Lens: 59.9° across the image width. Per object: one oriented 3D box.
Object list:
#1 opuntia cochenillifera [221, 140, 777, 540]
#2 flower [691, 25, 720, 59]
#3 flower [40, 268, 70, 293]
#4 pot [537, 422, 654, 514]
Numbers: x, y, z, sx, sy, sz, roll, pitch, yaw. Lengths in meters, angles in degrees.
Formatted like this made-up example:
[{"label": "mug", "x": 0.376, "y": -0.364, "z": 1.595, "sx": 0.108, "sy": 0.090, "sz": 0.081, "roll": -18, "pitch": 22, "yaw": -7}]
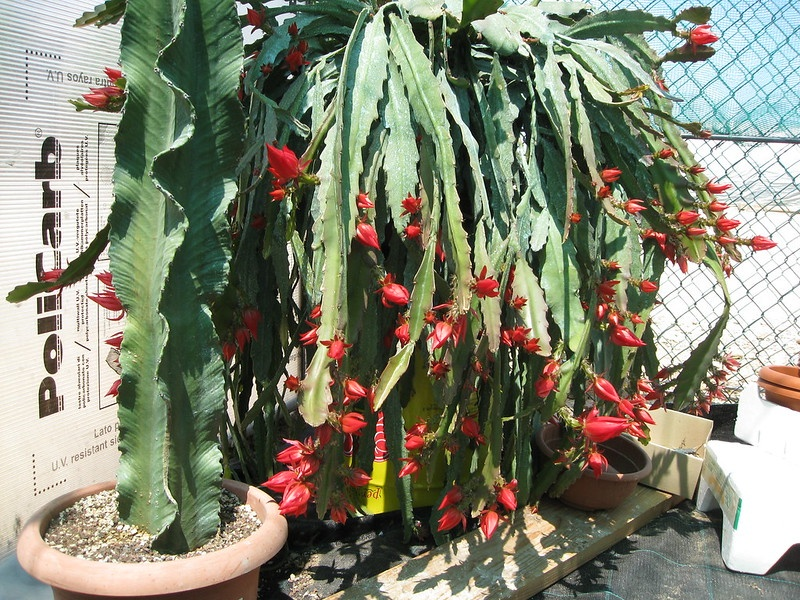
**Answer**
[{"label": "opuntia cochenillifera", "x": 0.193, "y": 0.120, "z": 1.392, "sx": 0.859, "sy": 0.996, "sz": 0.307, "roll": 5, "pitch": -13, "yaw": -8}, {"label": "flower", "x": 0.667, "y": -0.583, "z": 1.536, "sx": 0.057, "sy": 0.064, "sz": 0.098, "roll": 9, "pitch": 11, "yaw": 21}, {"label": "flower", "x": -0.633, "y": -0.034, "z": 1.269, "sx": 0.040, "sy": 0.060, "sz": 0.109, "roll": 0, "pitch": 13, "yaw": -28}, {"label": "pot", "x": 0.504, "y": 0.436, "z": 1.761, "sx": 0.210, "sy": 0.113, "sz": 0.219, "roll": 0, "pitch": 15, "yaw": 0}]
